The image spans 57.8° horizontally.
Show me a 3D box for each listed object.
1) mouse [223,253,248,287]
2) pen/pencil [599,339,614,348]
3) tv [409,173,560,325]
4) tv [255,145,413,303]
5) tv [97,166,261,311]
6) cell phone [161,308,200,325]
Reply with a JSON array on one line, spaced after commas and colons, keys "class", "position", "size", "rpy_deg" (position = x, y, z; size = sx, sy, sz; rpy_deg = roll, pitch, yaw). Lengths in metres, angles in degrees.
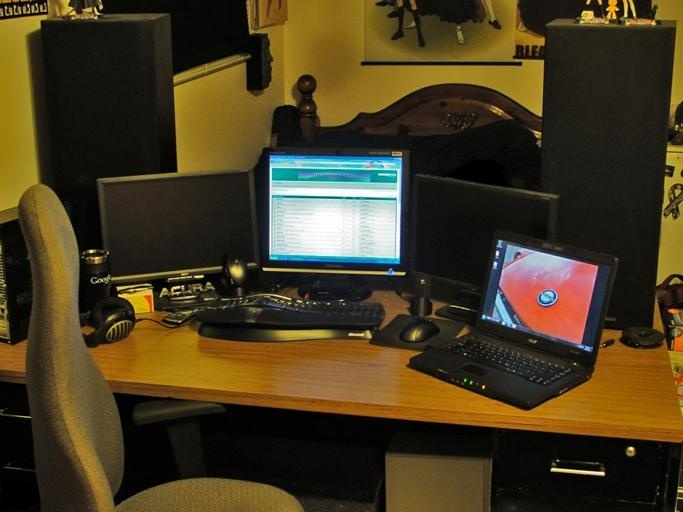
[{"class": "mouse", "position": [-0.415, 0.060, 2.433], "size": [0.087, 0.123, 0.037], "rpy_deg": [-17, -9, -30]}, {"class": "pen/pencil", "position": [0.897, 0.296, 2.092], "size": [0.085, 0.012, 0.019], "rpy_deg": [-14, 47, -42]}, {"class": "tv", "position": [0.511, -0.019, 2.228], "size": [0.484, 0.456, 0.170], "rpy_deg": [13, 12, 28]}, {"class": "tv", "position": [-0.023, -0.129, 2.451], "size": [0.595, 0.559, 0.312], "rpy_deg": [1, 9, 7]}, {"class": "tv", "position": [-0.636, -0.059, 2.409], "size": [0.547, 0.395, 0.153], "rpy_deg": [-3, 2, -12]}, {"class": "cell phone", "position": [-0.600, 0.226, 2.287], "size": [0.063, 0.015, 0.114], "rpy_deg": [7, 14, 16]}]
